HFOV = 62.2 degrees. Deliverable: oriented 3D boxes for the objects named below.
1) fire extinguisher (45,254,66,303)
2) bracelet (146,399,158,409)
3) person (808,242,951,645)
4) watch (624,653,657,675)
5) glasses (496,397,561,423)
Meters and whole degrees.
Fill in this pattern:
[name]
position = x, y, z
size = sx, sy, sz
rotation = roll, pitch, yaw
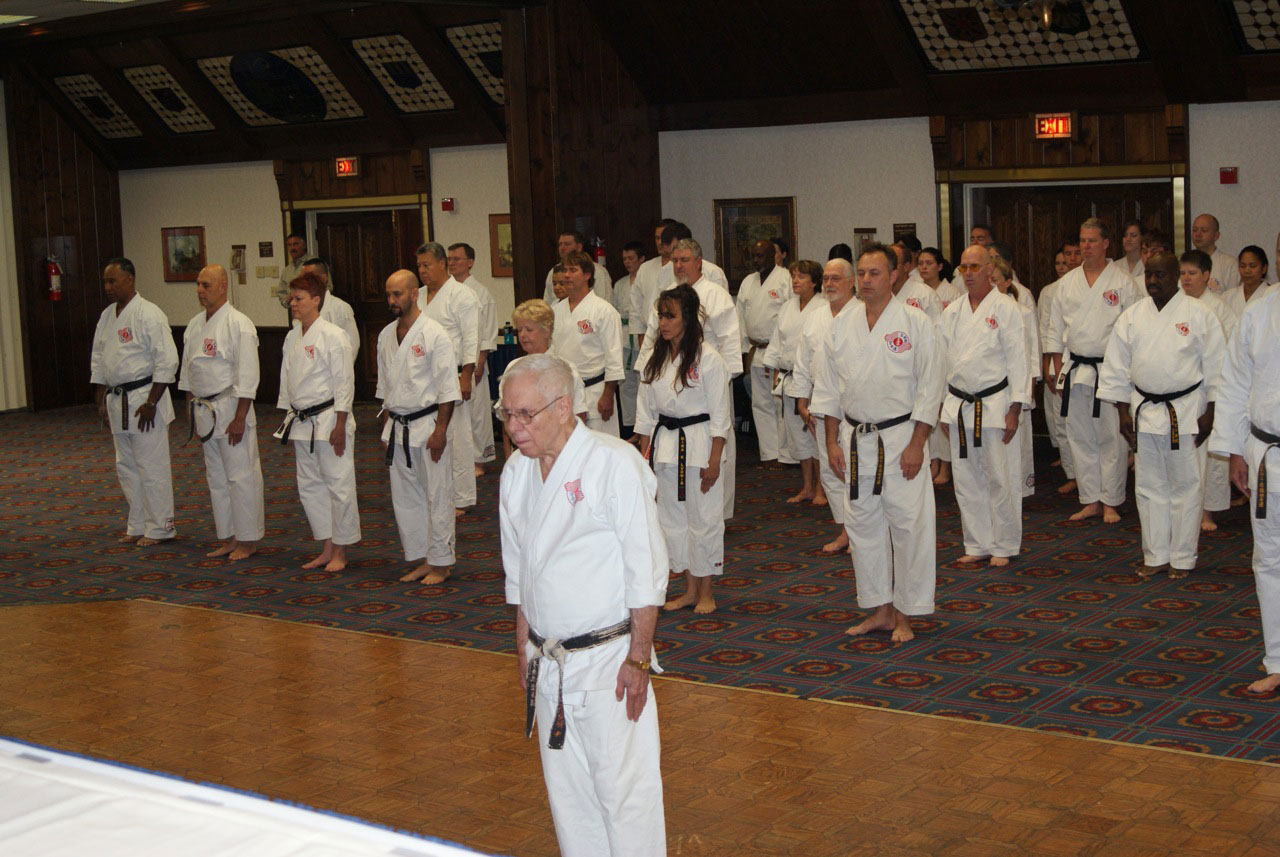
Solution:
[fire extinguisher]
position = -8.107, -2.089, 14.778
size = 0.144, 0.657, 0.252
rotation = -4, 10, -9
[bracelet]
position = -3.610, -0.188, 7.880
size = 0.071, 0.065, 0.070
rotation = 4, 4, 23
[person]
position = 1.241, 0.009, 5.602
size = 0.654, 1.916, 0.345
rotation = 0, 10, 14
[watch]
position = -0.002, 0.715, 3.237
size = 0.099, 0.060, 0.100
rotation = 5, -4, -4
[glasses]
position = -0.350, -0.056, 3.216
size = 0.198, 0.066, 0.080
rotation = 2, 11, 19
